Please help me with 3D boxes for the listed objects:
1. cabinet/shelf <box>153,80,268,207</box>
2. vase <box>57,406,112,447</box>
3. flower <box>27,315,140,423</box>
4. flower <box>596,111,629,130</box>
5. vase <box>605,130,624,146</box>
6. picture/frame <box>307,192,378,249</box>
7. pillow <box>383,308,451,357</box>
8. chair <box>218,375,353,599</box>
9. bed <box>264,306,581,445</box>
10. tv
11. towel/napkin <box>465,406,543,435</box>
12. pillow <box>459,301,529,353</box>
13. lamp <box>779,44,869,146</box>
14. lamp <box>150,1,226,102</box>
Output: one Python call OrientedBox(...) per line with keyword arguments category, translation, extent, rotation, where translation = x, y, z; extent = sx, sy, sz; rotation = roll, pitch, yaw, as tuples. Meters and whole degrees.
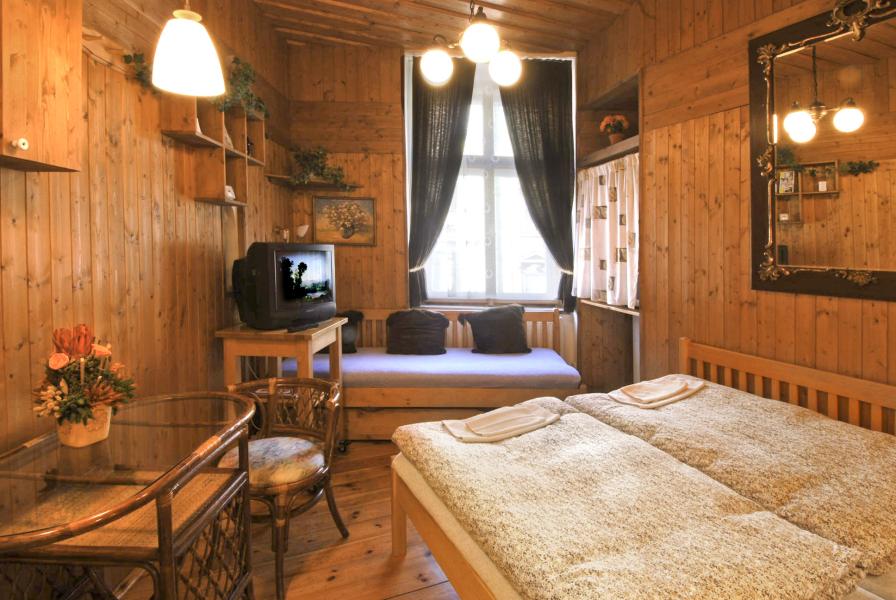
OrientedBox(category="cabinet/shelf", translation=(-1.637, -1.036, 4.486), extent=(0.285, 0.713, 0.810), rotation=(-2, 3, 9))
OrientedBox(category="vase", translation=(-1.770, 0.595, 3.156), extent=(0.162, 0.191, 0.229), rotation=(4, 7, 15))
OrientedBox(category="flower", translation=(-1.808, 0.376, 3.233), extent=(0.418, 0.485, 0.373), rotation=(-10, 8, -23))
OrientedBox(category="flower", translation=(1.462, -1.584, 5.740), extent=(0.261, 0.133, 0.298), rotation=(0, 4, 13))
OrientedBox(category="vase", translation=(1.455, -1.375, 5.649), extent=(0.143, 0.102, 0.147), rotation=(0, -1, 11))
OrientedBox(category="picture/frame", translation=(-1.009, -0.763, 6.113), extent=(0.609, 0.507, 0.049), rotation=(2, 0, -2))
OrientedBox(category="pillow", translation=(-0.292, 0.292, 5.965), extent=(0.583, 0.435, 0.332), rotation=(1, 8, 2))
OrientedBox(category="chair", translation=(-0.898, 1.064, 4.080), extent=(1.027, 1.277, 1.005), rotation=(-1, -1, 17))
OrientedBox(category="bed", translation=(-0.104, 0.573, 5.550), extent=(1.879, 0.798, 0.691), rotation=(0, 20, -16))
OrientedBox(category="tv", translation=(-1.272, -0.097, 4.961), extent=(0.489, 0.679, 0.868), rotation=(2, 5, 18))
OrientedBox(category="towel/napkin", translation=(0.343, 0.707, 3.786), extent=(0.254, 0.046, 0.185), rotation=(-8, 5, -34))
OrientedBox(category="pillow", translation=(0.461, 0.229, 6.069), extent=(0.702, 0.243, 0.703), rotation=(-21, 23, -32))
OrientedBox(category="lamp", translation=(2.197, -1.260, 3.855), extent=(0.409, 0.576, 0.336), rotation=(-5, -4, 29))
OrientedBox(category="lamp", translation=(-1.265, -1.212, 3.162), extent=(0.303, 0.423, 0.171), rotation=(-6, 4, -44))
